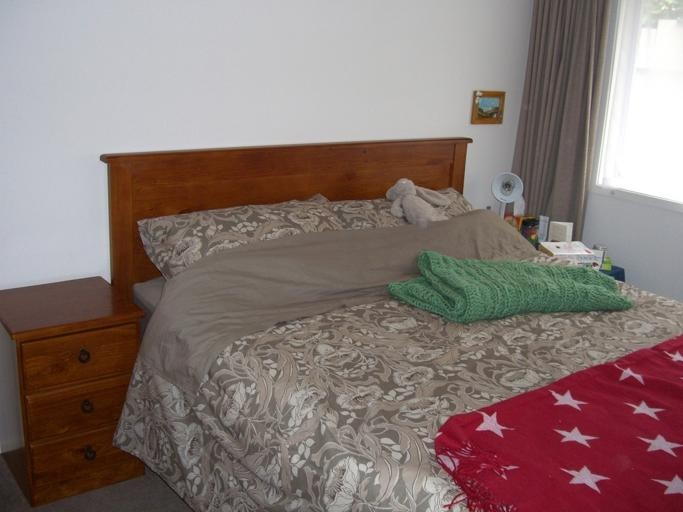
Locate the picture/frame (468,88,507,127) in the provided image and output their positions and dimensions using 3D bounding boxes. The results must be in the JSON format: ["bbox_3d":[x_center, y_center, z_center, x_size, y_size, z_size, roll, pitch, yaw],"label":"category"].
[{"bbox_3d":[1.146,-1.161,3.774,0.374,0.258,0.020,-12,19,-34],"label":"picture/frame"}]
